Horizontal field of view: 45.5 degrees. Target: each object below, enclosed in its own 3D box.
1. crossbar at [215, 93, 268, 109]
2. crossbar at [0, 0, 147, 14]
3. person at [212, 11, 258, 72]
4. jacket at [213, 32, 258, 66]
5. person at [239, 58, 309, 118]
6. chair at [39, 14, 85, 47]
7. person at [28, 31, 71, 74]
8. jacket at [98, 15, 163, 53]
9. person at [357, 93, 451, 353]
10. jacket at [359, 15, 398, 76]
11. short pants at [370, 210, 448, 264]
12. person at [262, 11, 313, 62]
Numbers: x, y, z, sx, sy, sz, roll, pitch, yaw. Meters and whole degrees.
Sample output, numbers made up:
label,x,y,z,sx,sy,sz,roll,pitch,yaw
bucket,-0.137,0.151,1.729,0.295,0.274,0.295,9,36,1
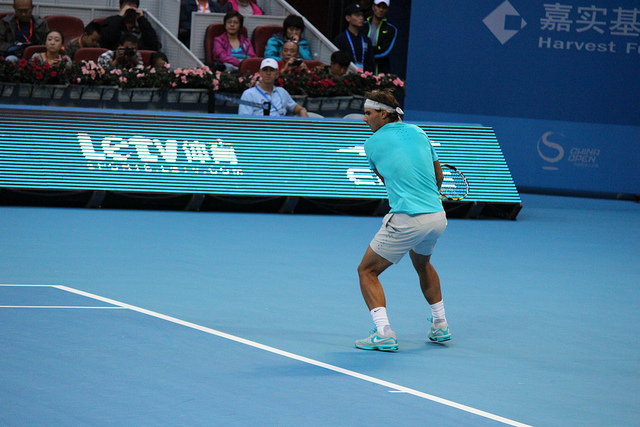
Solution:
label,x,y,z,sx,sy,sz,roll,pitch,yaw
crossbar,-1.330,-1.944,13.053,0.891,0.064,0.129,19,44,36
crossbar,-5.084,-4.285,15.790,2.819,0.146,0.930,-1,13,-20
person,-1.631,-3.303,15.158,0.918,1.178,1.055,-10,22,-28
jacket,-1.770,-3.257,15.491,0.855,0.591,0.750,-6,24,-30
person,-0.820,-1.931,12.876,1.217,1.339,0.720,-10,16,-28
chair,-5.014,-3.482,15.083,0.958,0.761,0.758,5,20,-14
person,-4.647,-2.815,13.344,1.005,0.692,0.444,4,8,-6
jacket,-3.665,-3.614,14.847,1.237,0.791,1.560,2,2,-14
person,0.764,0.080,6.770,0.910,2.234,0.748,5,14,1
jacket,1.177,-3.472,15.723,0.719,1.157,0.982,5,13,5
short pants,0.844,0.165,6.942,0.479,0.519,0.849,14,14,40
person,-0.615,-3.357,15.265,0.924,1.193,0.670,6,12,-15
